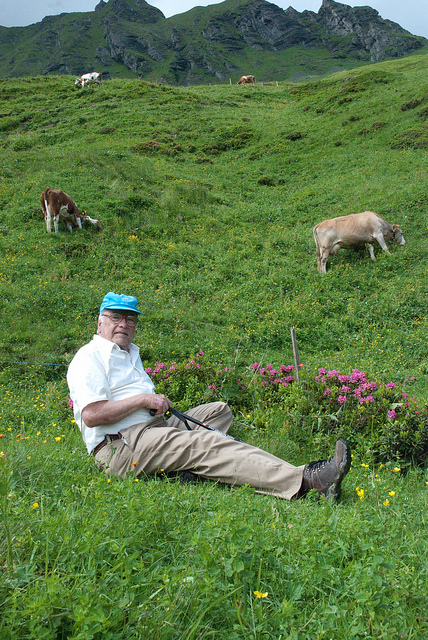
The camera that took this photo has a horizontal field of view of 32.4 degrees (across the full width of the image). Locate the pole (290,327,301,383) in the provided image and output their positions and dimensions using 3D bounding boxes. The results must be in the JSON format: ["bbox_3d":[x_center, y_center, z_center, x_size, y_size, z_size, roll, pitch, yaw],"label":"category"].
[{"bbox_3d":[0.757,0.291,6.816,0.074,0.647,0.088,-1,-6,4],"label":"pole"}]

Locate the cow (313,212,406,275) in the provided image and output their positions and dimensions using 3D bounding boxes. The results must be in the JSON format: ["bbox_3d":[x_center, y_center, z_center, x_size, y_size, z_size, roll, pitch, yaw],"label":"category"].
[{"bbox_3d":[3.092,-1.657,15.374,2.056,1.109,0.467,-9,5,-12],"label":"cow"}]

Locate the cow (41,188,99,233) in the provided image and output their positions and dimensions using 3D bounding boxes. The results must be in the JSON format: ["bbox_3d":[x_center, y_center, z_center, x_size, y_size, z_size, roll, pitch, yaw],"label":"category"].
[{"bbox_3d":[-3.473,-2.450,17.197,0.524,1.027,1.761,-4,-1,20],"label":"cow"}]

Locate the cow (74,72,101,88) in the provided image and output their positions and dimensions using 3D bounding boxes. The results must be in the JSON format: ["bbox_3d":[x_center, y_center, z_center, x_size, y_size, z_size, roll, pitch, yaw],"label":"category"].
[{"bbox_3d":[-7.606,-14.492,44.503,1.431,0.867,2.241,-7,7,-5],"label":"cow"}]

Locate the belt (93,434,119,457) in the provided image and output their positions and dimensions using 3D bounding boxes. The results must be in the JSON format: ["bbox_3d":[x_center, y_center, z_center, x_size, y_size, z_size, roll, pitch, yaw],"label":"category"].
[{"bbox_3d":[-0.779,0.900,5.284,0.205,0.138,0.035,-6,8,4],"label":"belt"}]

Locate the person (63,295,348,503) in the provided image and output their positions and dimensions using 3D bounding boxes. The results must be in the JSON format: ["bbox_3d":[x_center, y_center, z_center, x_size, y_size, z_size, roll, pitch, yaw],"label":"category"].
[{"bbox_3d":[-0.011,0.538,5.285,2.131,1.264,1.071,3,-1,29],"label":"person"}]
